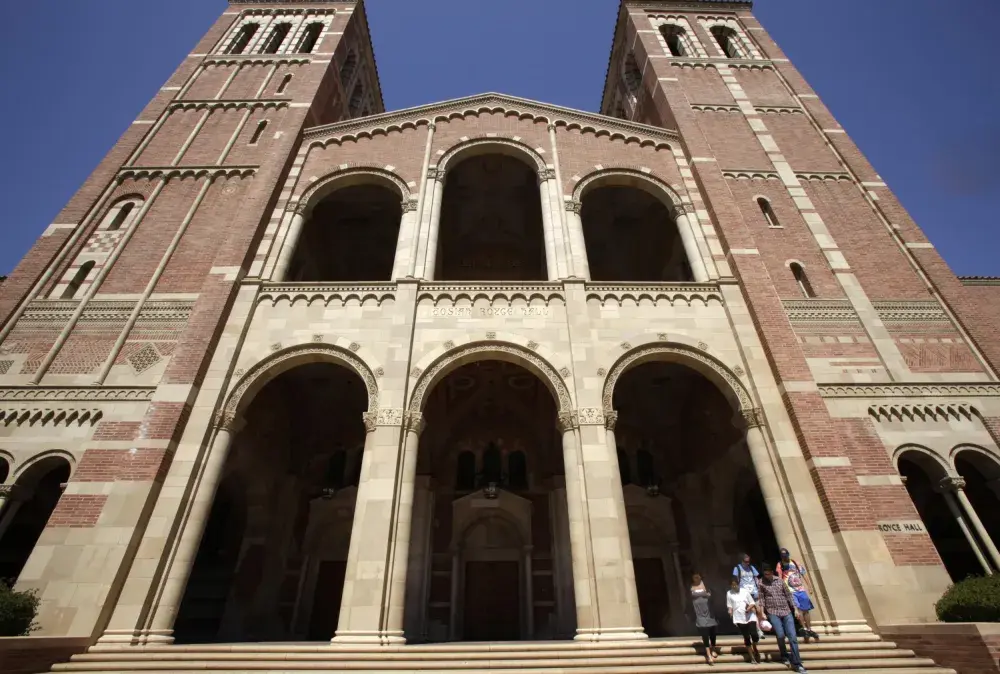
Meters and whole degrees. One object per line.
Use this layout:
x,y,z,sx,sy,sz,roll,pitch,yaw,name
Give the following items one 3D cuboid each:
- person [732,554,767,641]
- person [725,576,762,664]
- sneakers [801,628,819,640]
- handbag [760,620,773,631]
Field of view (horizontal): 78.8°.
6.427,6.498,15.534,0.653,1.722,0.605,-16,-4,25,person
6.253,7.192,15.416,0.658,1.875,1.285,-11,-36,16,person
8.131,7.795,15.895,0.445,0.291,0.136,-2,-51,3,sneakers
6.685,7.291,15.250,0.269,0.127,0.326,-15,-43,-1,handbag
